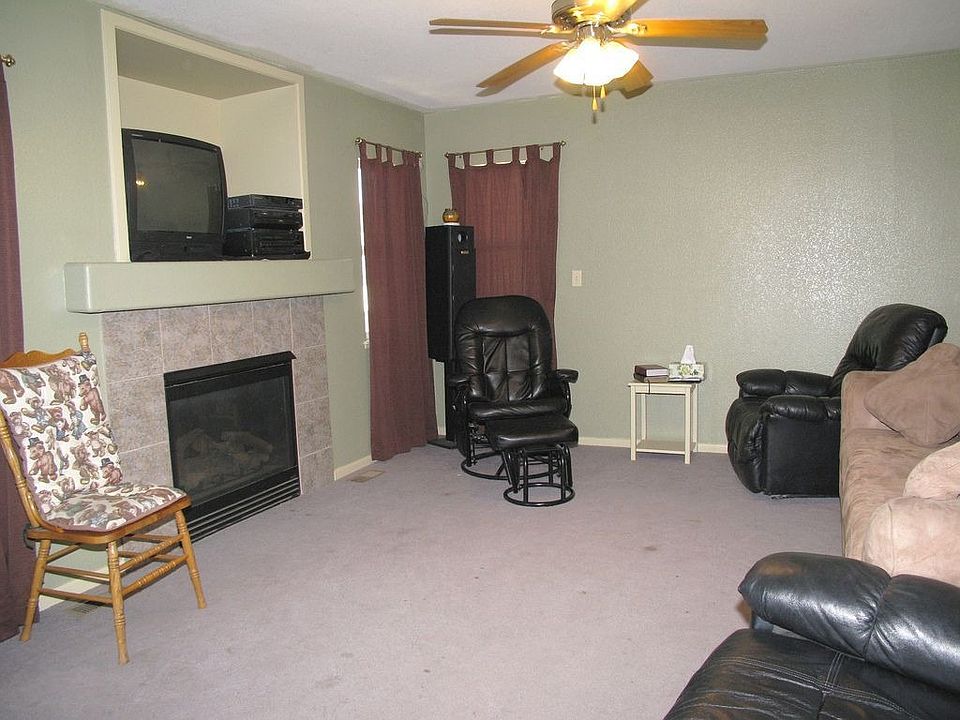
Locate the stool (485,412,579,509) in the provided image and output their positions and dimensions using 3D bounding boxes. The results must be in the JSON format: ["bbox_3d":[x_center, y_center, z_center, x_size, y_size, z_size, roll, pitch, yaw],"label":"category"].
[{"bbox_3d":[0.325,0.624,4.948,0.650,0.554,0.574,-1,0,-3],"label":"stool"}]

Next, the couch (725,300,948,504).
[{"bbox_3d":[2.333,0.212,5.181,1.336,1.366,1.278,0,2,18],"label":"couch"}]

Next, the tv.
[{"bbox_3d":[-1.719,-0.917,4.222,0.138,0.703,0.640,3,10,26],"label":"tv"}]

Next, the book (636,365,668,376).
[{"bbox_3d":[1.273,0.090,5.577,0.246,0.079,0.125,2,10,25],"label":"book"}]

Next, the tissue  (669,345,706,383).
[{"bbox_3d":[1.558,0.026,5.602,0.280,0.287,0.279,1,-2,20],"label":"tissue "}]
